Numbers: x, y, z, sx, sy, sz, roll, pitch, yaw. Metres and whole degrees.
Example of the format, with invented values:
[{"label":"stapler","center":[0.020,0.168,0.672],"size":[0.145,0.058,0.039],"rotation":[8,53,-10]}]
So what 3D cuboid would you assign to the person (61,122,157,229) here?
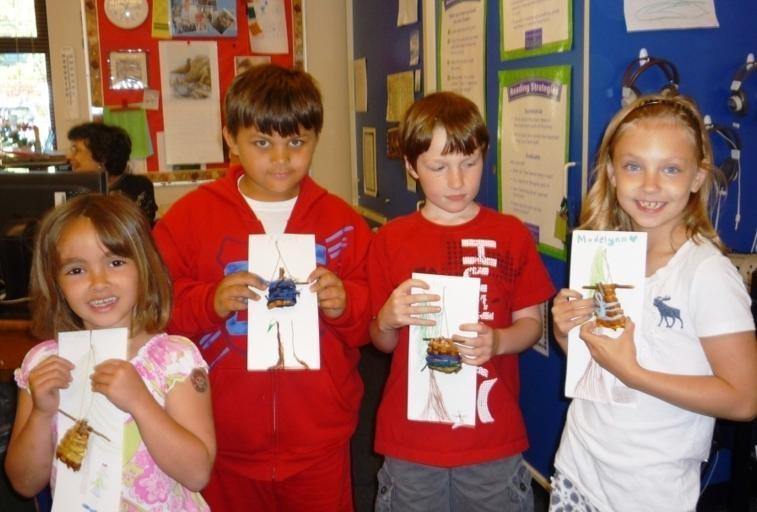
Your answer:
[{"label":"person","center":[-1.948,-0.522,4.297],"size":[0.541,0.937,0.467],"rotation":[7,19,-8]}]
